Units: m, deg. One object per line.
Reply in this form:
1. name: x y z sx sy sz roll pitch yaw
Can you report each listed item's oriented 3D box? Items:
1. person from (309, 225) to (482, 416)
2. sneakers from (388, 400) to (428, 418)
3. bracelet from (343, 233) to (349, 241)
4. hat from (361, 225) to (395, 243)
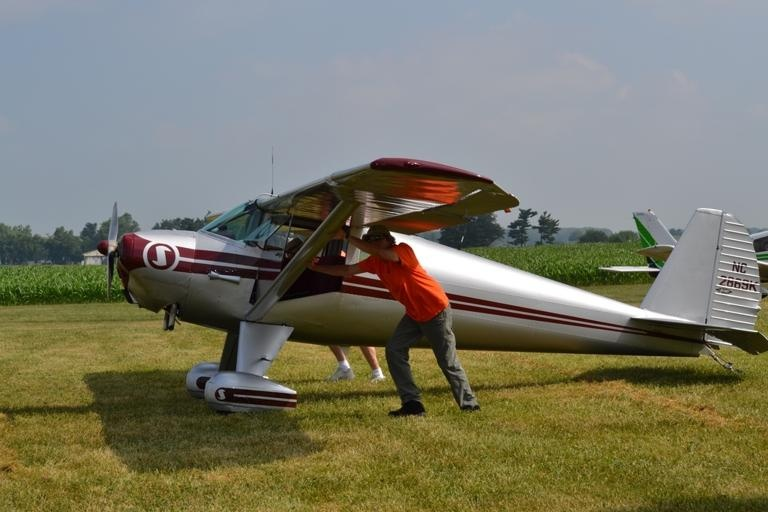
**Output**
1. person: 0.231 0.666 6.799 1.505 1.940 0.502 0 8 8
2. sneakers: 0.227 1.567 6.725 0.383 0.157 0.164 0 6 1
3. bracelet: -0.395 -0.194 6.773 0.049 0.050 0.054 12 -13 7
4. hat: -0.081 -0.223 6.743 0.317 0.078 0.198 6 -4 -19
